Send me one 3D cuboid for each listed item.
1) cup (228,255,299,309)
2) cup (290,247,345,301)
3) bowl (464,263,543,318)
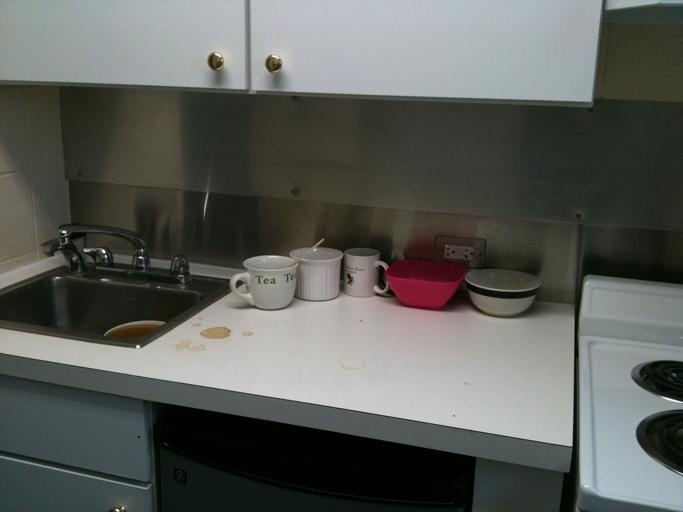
[{"bbox_3d":[-0.232,0.045,1.646,0.170,0.129,0.143,-8,22,-23],"label":"cup"},{"bbox_3d":[-0.076,0.050,1.760,0.163,0.136,0.177,1,14,0],"label":"cup"},{"bbox_3d":[0.471,0.108,1.659,0.212,0.108,0.196,1,15,0],"label":"bowl"}]
